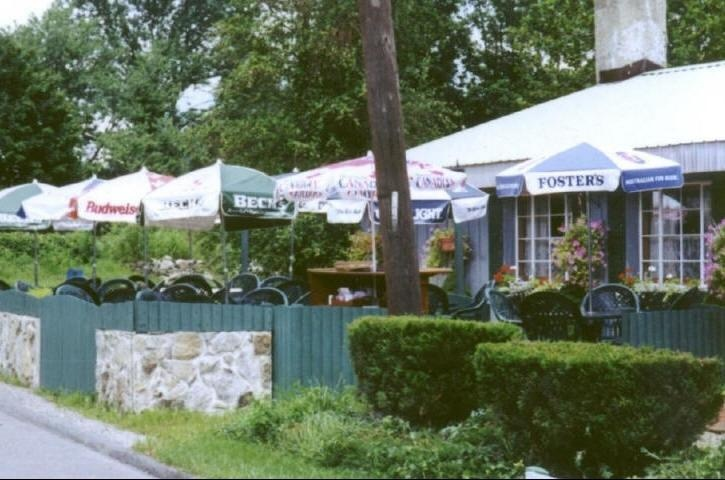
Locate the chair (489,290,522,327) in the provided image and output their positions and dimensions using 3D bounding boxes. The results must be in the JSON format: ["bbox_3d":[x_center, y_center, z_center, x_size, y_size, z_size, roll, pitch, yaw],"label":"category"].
[{"bbox_3d":[3.794,1.900,38.564,0.618,0.984,0.269,1,-33,-24],"label":"chair"}]

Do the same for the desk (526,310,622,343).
[{"bbox_3d":[5.406,2.327,37.331,1.761,1.120,0.510,-2,-2,-2],"label":"desk"}]

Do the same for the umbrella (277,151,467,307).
[{"bbox_3d":[0.058,-0.725,40.778,5.681,3.771,6.037,-1,3,41],"label":"umbrella"}]

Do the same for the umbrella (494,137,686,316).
[{"bbox_3d":[6.195,-0.646,40.147,5.592,4.493,5.360,-1,6,-5],"label":"umbrella"}]
